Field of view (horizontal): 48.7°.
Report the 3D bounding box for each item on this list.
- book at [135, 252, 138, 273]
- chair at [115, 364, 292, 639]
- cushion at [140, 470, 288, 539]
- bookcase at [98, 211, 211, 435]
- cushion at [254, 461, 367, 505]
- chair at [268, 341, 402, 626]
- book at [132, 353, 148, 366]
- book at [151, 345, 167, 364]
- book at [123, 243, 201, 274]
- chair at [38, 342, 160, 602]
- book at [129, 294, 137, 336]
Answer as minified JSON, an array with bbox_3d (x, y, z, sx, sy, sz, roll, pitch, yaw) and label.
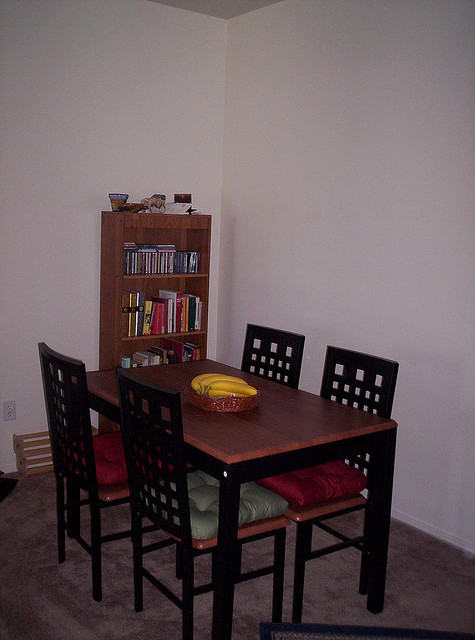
[{"bbox_3d":[-0.642,-0.357,3.318,0.009,0.126,0.026,9,10,35],"label":"book"},{"bbox_3d":[-0.155,0.538,1.801,0.513,1.103,0.484,-3,7,-39],"label":"chair"},{"bbox_3d":[-0.090,0.519,1.721,0.318,0.194,0.351,-2,12,-34],"label":"cushion"},{"bbox_3d":[-0.560,-0.015,3.467,0.684,1.472,0.229,-8,14,-39],"label":"bookcase"},{"bbox_3d":[0.239,0.563,1.789,0.188,0.062,0.230,0,-2,-28],"label":"cushion"},{"bbox_3d":[0.289,0.588,2.036,0.454,0.882,0.517,8,6,42],"label":"chair"},{"bbox_3d":[-0.646,0.262,3.493,0.070,0.081,0.078,-2,6,-26],"label":"book"},{"bbox_3d":[-0.550,0.207,3.609,0.080,0.164,0.150,-5,8,-27],"label":"book"},{"bbox_3d":[-0.512,-0.392,3.474,0.625,0.192,0.110,-3,11,-44],"label":"book"},{"bbox_3d":[-0.510,0.552,2.106,0.464,0.923,0.404,-9,15,-44],"label":"chair"},{"bbox_3d":[-0.662,-0.026,3.321,0.060,0.262,0.034,0,9,-26],"label":"book"}]
